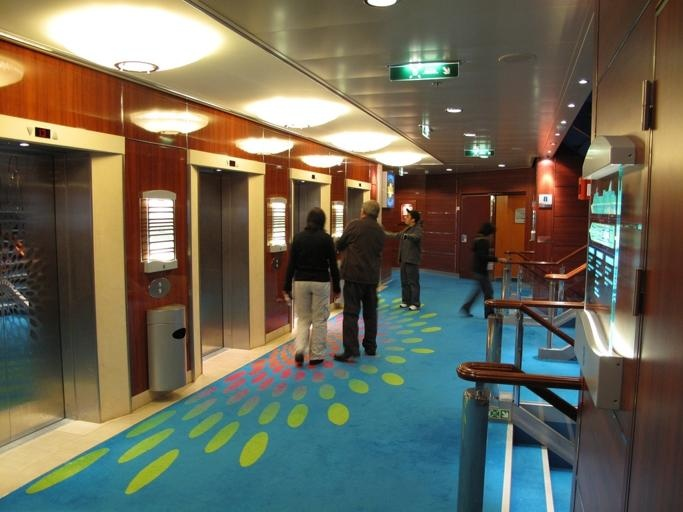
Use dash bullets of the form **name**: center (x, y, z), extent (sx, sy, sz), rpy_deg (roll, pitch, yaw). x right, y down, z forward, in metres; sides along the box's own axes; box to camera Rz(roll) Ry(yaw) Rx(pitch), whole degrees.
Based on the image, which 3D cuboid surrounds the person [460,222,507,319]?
- **person**: center (2.364, 0.242, 8.300), extent (0.585, 1.657, 0.614), rpy_deg (1, 9, 14)

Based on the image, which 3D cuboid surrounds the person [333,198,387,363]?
- **person**: center (0.202, 0.302, 5.944), extent (0.705, 1.950, 0.405), rpy_deg (-5, 9, -22)

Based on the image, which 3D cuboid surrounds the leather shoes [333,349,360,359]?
- **leather shoes**: center (0.061, 1.210, 5.923), extent (0.316, 0.155, 0.116), rpy_deg (4, -1, -5)

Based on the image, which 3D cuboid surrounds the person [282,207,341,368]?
- **person**: center (-0.348, 0.377, 5.605), extent (0.690, 1.857, 0.454), rpy_deg (1, 9, 10)

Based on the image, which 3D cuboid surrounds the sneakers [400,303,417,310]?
- **sneakers**: center (1.241, 0.927, 8.990), extent (0.262, 0.116, 0.116), rpy_deg (0, 3, 30)

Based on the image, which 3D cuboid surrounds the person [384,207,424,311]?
- **person**: center (1.219, 0.071, 9.009), extent (0.523, 1.897, 0.905), rpy_deg (1, 9, 10)

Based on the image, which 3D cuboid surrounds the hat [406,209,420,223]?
- **hat**: center (1.344, -0.744, 8.849), extent (0.218, 0.322, 0.263), rpy_deg (-1, 16, -17)

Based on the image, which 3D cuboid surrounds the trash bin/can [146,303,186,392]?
- **trash bin/can**: center (-1.794, 0.959, 5.025), extent (0.296, 0.828, 0.492), rpy_deg (1, 2, 17)
